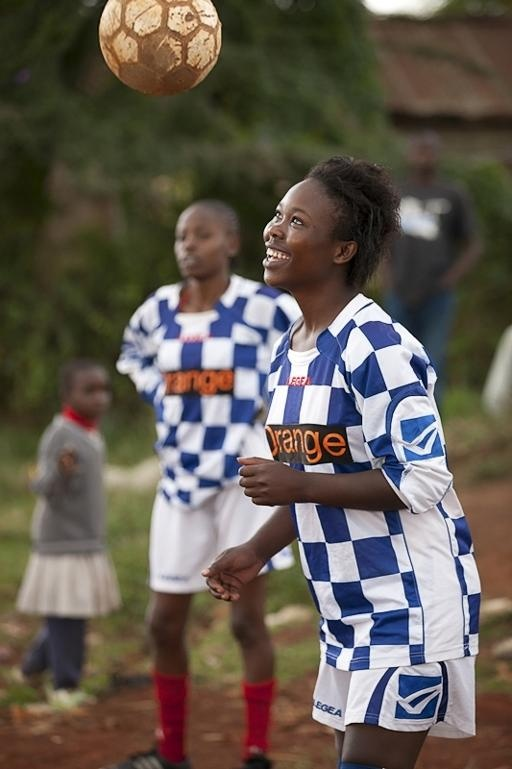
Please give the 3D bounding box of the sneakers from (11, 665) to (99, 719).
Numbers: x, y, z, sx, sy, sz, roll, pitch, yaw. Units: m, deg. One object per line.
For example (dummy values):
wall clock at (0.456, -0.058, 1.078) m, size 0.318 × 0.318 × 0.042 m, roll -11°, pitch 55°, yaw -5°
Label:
sneakers at (-0.638, 0.963, 3.210) m, size 0.208 × 0.060 × 0.152 m, roll 15°, pitch -22°, yaw 2°
